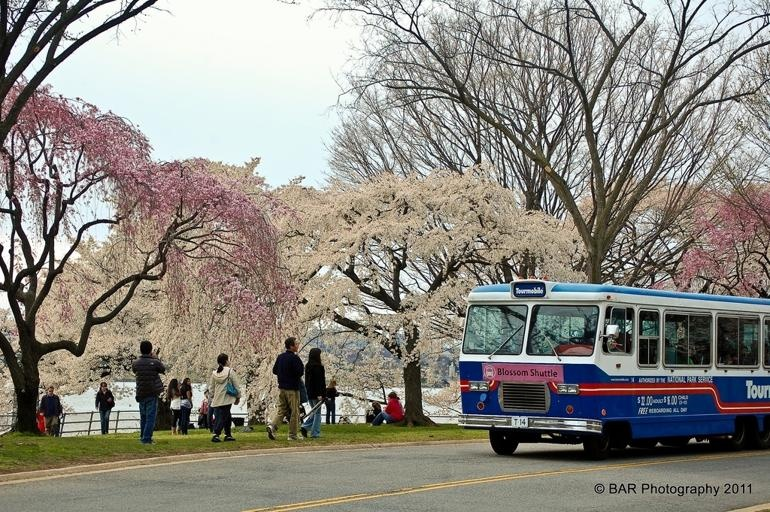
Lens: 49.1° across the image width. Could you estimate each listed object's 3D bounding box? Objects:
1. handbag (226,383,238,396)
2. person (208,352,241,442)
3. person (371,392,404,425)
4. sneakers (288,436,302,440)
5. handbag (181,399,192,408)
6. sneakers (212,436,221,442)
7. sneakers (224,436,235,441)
[{"bbox_3d":[-4.001,3.498,22.094,0.122,0.269,0.250,-9,-21,27],"label":"handbag"},{"bbox_3d":[-4.244,3.758,22.421,0.761,2.297,0.688,1,-10,-8],"label":"person"},{"bbox_3d":[0.161,5.705,31.740,1.113,1.318,0.889,0,7,-1],"label":"person"},{"bbox_3d":[-2.429,4.875,22.651,0.319,0.155,0.125,-2,-5,16],"label":"sneakers"},{"bbox_3d":[-7.657,5.688,32.695,0.215,0.326,0.594,-5,-15,14],"label":"handbag"},{"bbox_3d":[-4.404,4.796,22.086,0.172,0.128,0.106,-11,-13,41],"label":"sneakers"},{"bbox_3d":[-4.155,4.881,22.533,0.310,0.135,0.109,-9,-10,36],"label":"sneakers"}]
